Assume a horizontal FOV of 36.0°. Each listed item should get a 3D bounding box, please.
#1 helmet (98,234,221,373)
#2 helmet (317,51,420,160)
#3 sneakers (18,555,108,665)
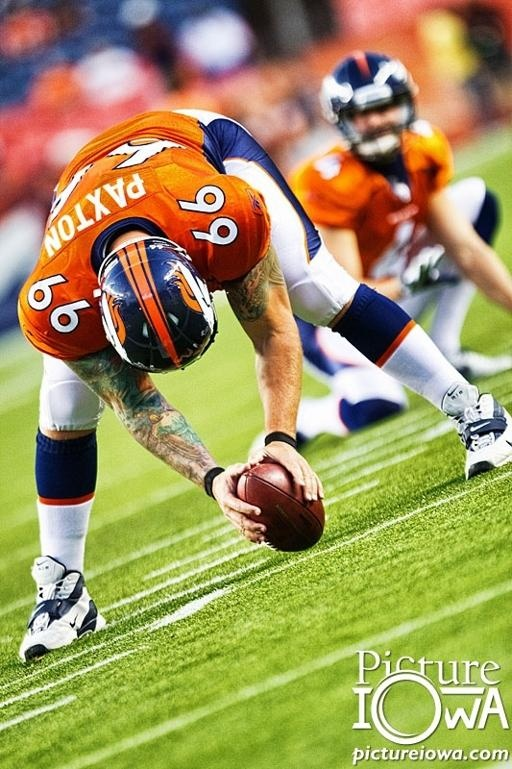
[{"bbox_3d":[-0.200,-0.150,1.562,0.218,0.232,0.216,-20,35,0],"label":"helmet"},{"bbox_3d":[0.415,-1.039,2.830,0.313,0.290,0.367,-18,33,9],"label":"helmet"},{"bbox_3d":[-0.565,0.610,2.196,0.132,0.239,0.364,-15,-5,10],"label":"sneakers"}]
